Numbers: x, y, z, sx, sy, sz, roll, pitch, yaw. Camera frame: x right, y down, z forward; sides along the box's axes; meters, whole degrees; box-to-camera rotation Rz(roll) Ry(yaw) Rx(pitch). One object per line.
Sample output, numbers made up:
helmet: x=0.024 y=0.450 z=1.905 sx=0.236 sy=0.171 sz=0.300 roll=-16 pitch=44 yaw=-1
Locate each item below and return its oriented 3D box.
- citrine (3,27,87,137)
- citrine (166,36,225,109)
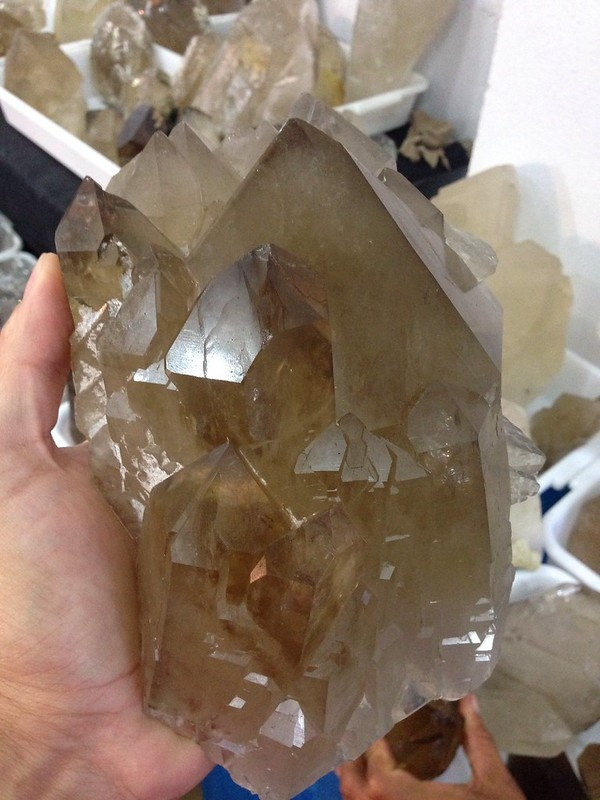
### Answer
citrine: x=-0.503 y=-0.637 z=1.944 sx=0.044 sy=0.203 sz=0.204 roll=-15 pitch=68 yaw=27
citrine: x=-0.211 y=-0.672 z=2.003 sx=0.097 sy=0.048 sz=0.174 roll=23 pitch=88 yaw=0
